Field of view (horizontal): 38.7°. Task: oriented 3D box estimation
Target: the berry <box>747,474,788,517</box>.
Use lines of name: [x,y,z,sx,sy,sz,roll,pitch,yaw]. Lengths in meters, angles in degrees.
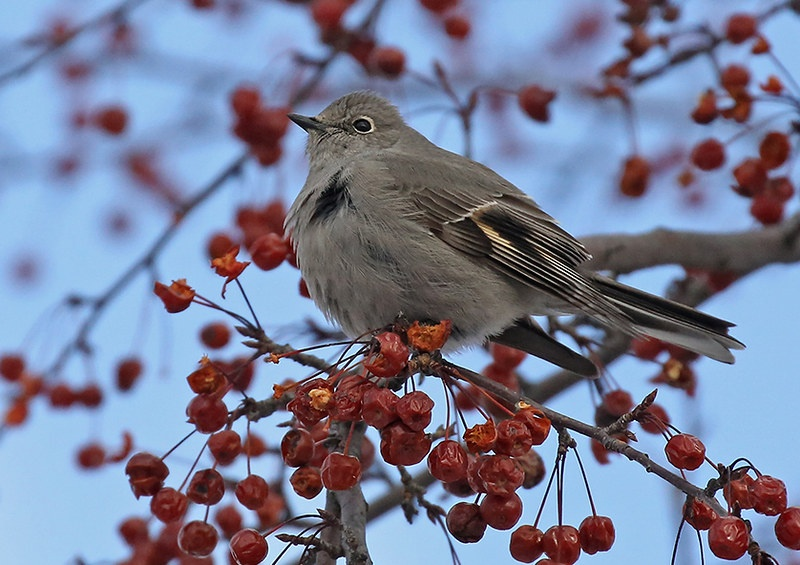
berry: [1.663,0.968,5.168,0.174,0.191,0.153,-12,-2,5]
